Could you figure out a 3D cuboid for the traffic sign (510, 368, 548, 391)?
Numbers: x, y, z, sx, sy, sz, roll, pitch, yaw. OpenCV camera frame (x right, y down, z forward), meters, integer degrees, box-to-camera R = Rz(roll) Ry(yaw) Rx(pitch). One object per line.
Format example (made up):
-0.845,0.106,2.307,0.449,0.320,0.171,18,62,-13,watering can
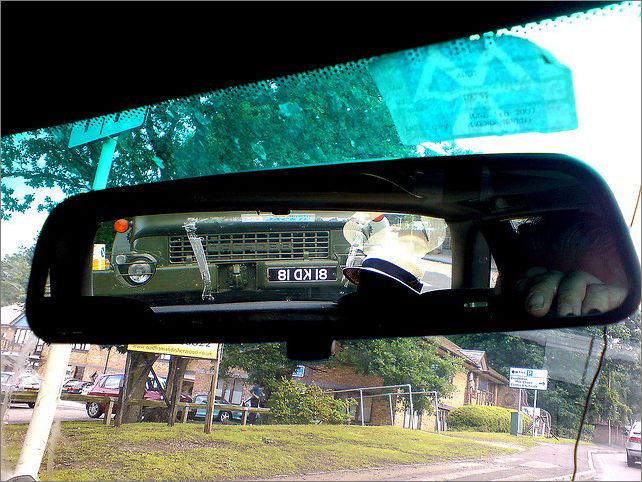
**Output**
1.700,1.115,4.819,0.303,0.161,0.466,-3,-16,20,traffic sign
